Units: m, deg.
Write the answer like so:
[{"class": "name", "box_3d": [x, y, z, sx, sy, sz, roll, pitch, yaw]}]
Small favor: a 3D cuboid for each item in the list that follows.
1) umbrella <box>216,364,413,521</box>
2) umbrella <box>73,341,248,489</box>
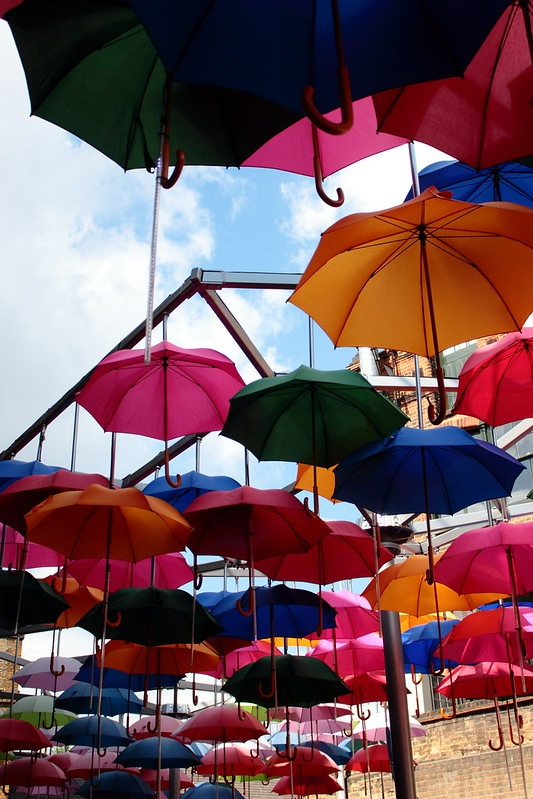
[{"class": "umbrella", "box_3d": [0.217, 0.090, 3.812, 0.753, 0.624, 0.740, 36, -47, -25]}, {"class": "umbrella", "box_3d": [-0.612, -0.010, 4.362, 0.835, 0.745, 0.844, -7, -57, 6]}]
